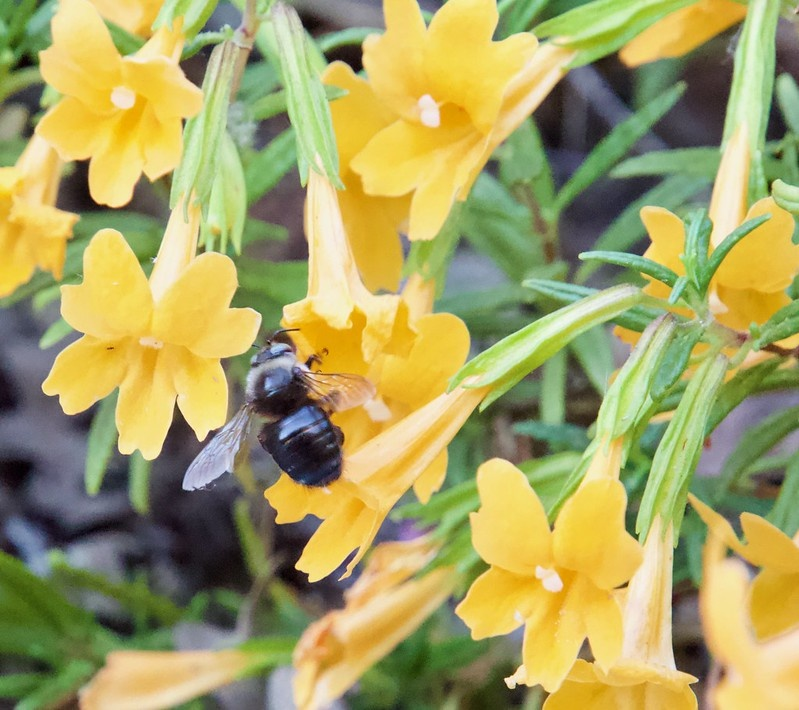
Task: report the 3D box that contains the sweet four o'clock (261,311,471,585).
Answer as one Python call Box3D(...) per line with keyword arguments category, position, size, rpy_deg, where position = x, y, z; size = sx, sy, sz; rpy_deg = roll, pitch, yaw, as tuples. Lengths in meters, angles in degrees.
Box3D(category="sweet four o'clock", position=(-0.035, 0.108, 1.312), size=(0.211, 0.288, 0.272), rpy_deg=(-55, 25, 0))

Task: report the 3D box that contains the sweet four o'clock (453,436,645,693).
Box3D(category="sweet four o'clock", position=(0.152, 0.223, 1.078), size=(0.173, 0.204, 0.207), rpy_deg=(8, 57, 3))

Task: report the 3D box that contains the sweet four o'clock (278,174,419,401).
Box3D(category="sweet four o'clock", position=(-0.068, -0.084, 1.256), size=(0.238, 0.225, 0.149), rpy_deg=(-6, 31, -7))

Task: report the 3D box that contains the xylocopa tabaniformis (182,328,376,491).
Box3D(category="xylocopa tabaniformis", position=(-0.121, 0.113, 1.463), size=(0.179, 0.308, 0.316), rpy_deg=(-6, 18, -3))
